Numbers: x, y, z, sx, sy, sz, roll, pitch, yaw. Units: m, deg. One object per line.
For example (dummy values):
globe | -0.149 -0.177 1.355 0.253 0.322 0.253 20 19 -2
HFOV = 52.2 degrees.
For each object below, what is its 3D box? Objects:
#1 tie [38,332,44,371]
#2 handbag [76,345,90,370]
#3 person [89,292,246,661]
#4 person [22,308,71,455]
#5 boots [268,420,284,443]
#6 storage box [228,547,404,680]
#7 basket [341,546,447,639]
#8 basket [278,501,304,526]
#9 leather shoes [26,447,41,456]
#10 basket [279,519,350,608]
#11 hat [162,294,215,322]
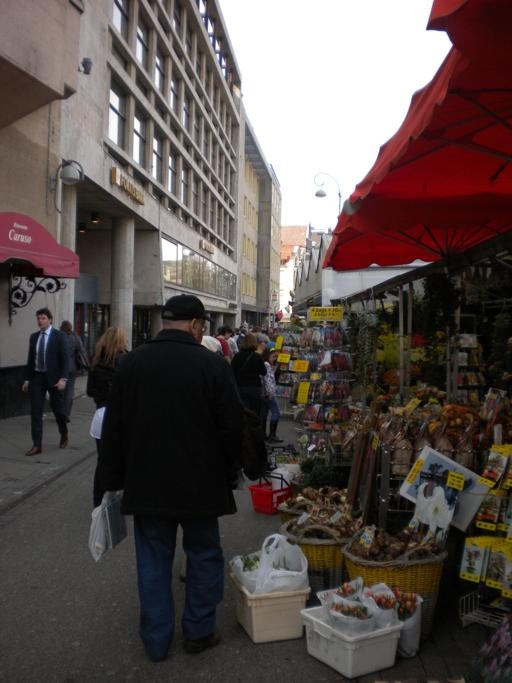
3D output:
tie | -3.345 0.170 8.129 0.100 0.578 0.140 2 -4 -25
handbag | -3.624 0.343 10.906 0.247 0.626 0.590 -9 -1 -10
person | -0.452 0.671 2.765 0.767 1.898 0.347 1 -3 -2
person | -3.300 0.597 8.271 0.668 2.311 0.831 2 -4 -23
boots | 0.409 1.745 10.182 0.396 0.544 0.223 -2 2 -20
storage box | 0.288 1.388 2.752 0.469 0.349 0.710 5 4 -35
basket | 0.789 1.323 2.904 0.431 0.393 0.455 0 -4 4
basket | 0.287 1.409 4.252 0.176 0.166 0.184 -4 -4 28
leather shoes | -3.405 1.670 7.937 0.083 0.122 0.264 -2 -13 22
basket | 0.392 1.451 3.500 0.394 0.332 0.407 -3 -4 37
hat | -0.386 -0.182 2.955 0.143 0.127 0.203 7 15 29
